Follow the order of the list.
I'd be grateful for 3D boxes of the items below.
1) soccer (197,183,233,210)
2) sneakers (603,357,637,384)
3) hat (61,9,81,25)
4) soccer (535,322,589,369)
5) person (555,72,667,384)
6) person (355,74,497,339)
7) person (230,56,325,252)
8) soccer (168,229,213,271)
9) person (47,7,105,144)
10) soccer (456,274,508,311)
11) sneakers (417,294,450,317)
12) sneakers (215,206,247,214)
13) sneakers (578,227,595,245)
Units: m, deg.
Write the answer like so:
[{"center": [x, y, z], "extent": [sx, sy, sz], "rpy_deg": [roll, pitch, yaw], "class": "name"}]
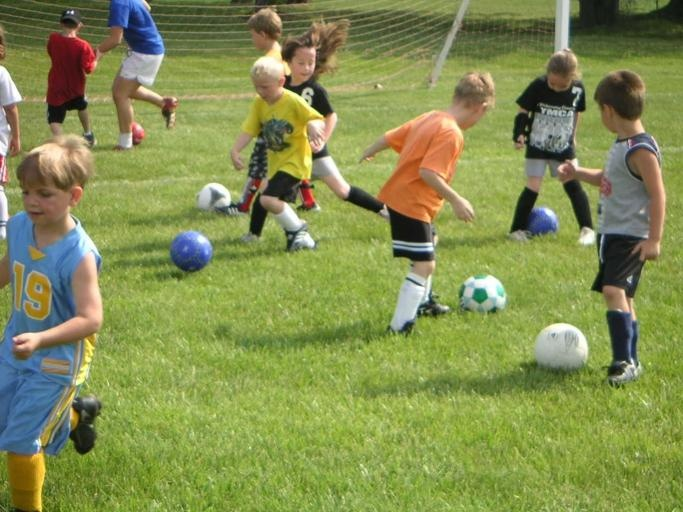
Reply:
[{"center": [-1.454, -0.702, 10.662], "extent": [0.314, 0.323, 0.320], "rpy_deg": [10, -15, -30], "class": "soccer"}, {"center": [2.160, 0.901, 7.156], "extent": [0.109, 0.126, 0.305], "rpy_deg": [-11, -10, 43], "class": "sneakers"}, {"center": [-3.721, -3.285, 12.721], "extent": [0.230, 0.180, 0.486], "rpy_deg": [0, 15, -16], "class": "hat"}, {"center": [1.752, 0.728, 7.485], "extent": [0.348, 0.364, 0.351], "rpy_deg": [40, 5, 2], "class": "soccer"}, {"center": [2.193, -0.258, 7.295], "extent": [0.467, 2.339, 0.884], "rpy_deg": [2, 14, -10], "class": "person"}, {"center": [0.738, -0.470, 7.920], "extent": [0.845, 2.188, 0.834], "rpy_deg": [5, 13, 2], "class": "person"}, {"center": [-0.640, -1.010, 9.301], "extent": [0.904, 1.915, 0.658], "rpy_deg": [4, 13, -1], "class": "person"}, {"center": [-1.441, -0.078, 8.953], "extent": [0.375, 0.388, 0.376], "rpy_deg": [0, -19, 2], "class": "soccer"}, {"center": [-3.732, -2.455, 12.840], "extent": [0.676, 1.844, 1.369], "rpy_deg": [0, 14, -17], "class": "person"}, {"center": [1.253, 0.346, 8.209], "extent": [0.333, 0.355, 0.318], "rpy_deg": [-7, -9, 8], "class": "soccer"}, {"center": [0.810, 0.462, 8.367], "extent": [0.370, 0.266, 0.129], "rpy_deg": [-2, 1, -7], "class": "sneakers"}, {"center": [-1.253, -0.517, 10.530], "extent": [0.316, 0.150, 0.111], "rpy_deg": [-3, 10, -4], "class": "sneakers"}, {"center": [2.585, -0.208, 9.772], "extent": [0.196, 0.094, 0.151], "rpy_deg": [-10, 42, 40], "class": "sneakers"}]
